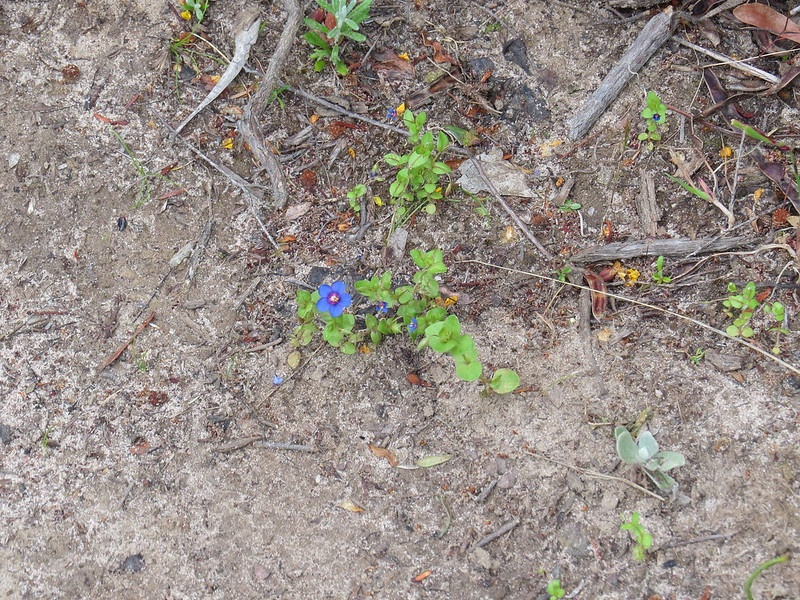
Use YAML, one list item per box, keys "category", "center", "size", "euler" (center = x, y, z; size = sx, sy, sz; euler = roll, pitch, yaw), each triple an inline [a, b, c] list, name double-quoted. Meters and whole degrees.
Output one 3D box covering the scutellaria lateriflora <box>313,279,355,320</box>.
- category: "scutellaria lateriflora"
  center: [-0.469, 0.043, 5.093]
  size: [0.232, 0.329, 0.237]
  euler: [-9, 68, -13]
